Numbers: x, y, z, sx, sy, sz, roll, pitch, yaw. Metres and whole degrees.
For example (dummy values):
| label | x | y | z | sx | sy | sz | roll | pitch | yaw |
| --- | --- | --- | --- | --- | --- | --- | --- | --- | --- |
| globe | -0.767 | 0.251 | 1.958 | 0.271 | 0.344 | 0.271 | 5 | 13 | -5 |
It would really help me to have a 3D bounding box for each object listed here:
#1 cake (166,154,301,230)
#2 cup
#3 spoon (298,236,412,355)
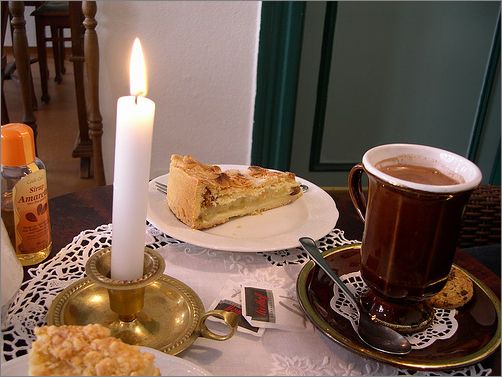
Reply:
| label | x | y | z | sx | sy | sz | roll | pitch | yaw |
| --- | --- | --- | --- | --- | --- | --- | --- | --- | --- |
| cake | -0.061 | 0.006 | 1.071 | 0.270 | 0.112 | 0.214 | -5 | 20 | -16 |
| cup | 0.272 | 0.087 | 0.698 | 0.200 | 0.279 | 0.193 | 1 | 22 | -1 |
| spoon | 0.160 | 0.136 | 0.703 | 0.060 | 0.043 | 0.302 | -5 | 36 | -21 |
